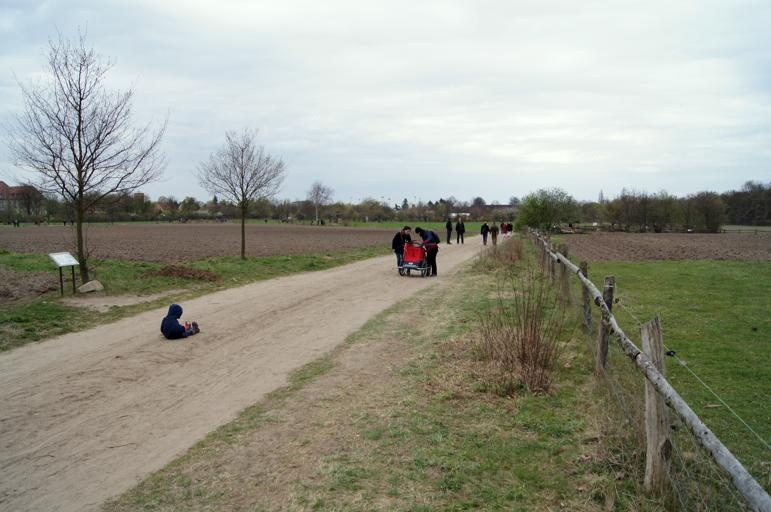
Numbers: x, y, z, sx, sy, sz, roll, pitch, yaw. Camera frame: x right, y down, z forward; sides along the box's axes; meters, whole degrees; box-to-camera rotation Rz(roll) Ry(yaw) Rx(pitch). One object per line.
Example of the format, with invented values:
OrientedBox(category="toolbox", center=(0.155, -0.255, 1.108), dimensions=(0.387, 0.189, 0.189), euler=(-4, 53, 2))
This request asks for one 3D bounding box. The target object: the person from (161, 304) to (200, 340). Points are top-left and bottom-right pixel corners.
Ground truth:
OrientedBox(category="person", center=(-5.129, 1.664, 14.251), dimensions=(0.953, 0.842, 0.645), euler=(-7, 12, -43))

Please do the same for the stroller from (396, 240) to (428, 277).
OrientedBox(category="stroller", center=(1.296, 0.238, 24.060), dimensions=(1.305, 1.479, 1.971), euler=(6, 2, 3))

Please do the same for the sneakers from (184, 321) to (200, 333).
OrientedBox(category="sneakers", center=(-4.897, 1.834, 14.315), dimensions=(0.264, 0.138, 0.309), euler=(6, 2, -41))
